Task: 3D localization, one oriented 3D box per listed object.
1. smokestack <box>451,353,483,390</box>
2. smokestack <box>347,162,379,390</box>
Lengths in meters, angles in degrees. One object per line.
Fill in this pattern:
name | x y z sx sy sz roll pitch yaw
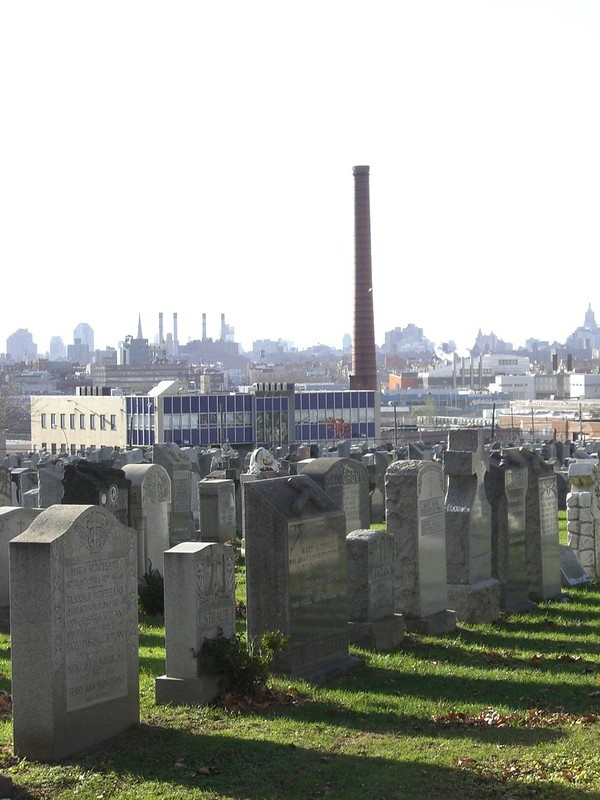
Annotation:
smokestack | 23.628 -3.772 195.967 3.983 7.739 4.779 2 8 18
smokestack | 3.614 -6.938 81.024 1.280 12.898 4.828 -1 -1 2
